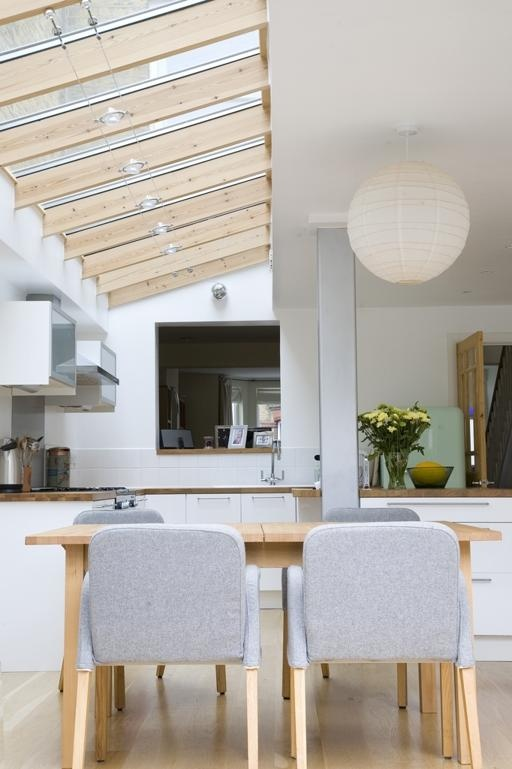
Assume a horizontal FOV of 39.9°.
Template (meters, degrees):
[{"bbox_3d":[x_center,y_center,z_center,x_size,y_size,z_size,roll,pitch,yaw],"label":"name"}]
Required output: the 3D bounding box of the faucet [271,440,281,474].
[{"bbox_3d":[0.167,0.666,6.319,0.071,0.330,0.257,-1,-4,13],"label":"faucet"}]

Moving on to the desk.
[{"bbox_3d":[0.009,0.839,2.294,1.446,0.765,0.850,1,-4,-19],"label":"desk"}]

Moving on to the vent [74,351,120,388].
[{"bbox_3d":[-1.191,-0.106,5.237,0.275,0.183,0.634,0,-4,-12],"label":"vent"}]

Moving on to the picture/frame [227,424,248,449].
[{"bbox_3d":[-0.172,0.495,6.600,0.173,0.201,0.320,0,-4,0],"label":"picture/frame"}]

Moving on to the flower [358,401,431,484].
[{"bbox_3d":[0.751,0.344,3.917,0.369,0.454,0.353,-1,-4,5],"label":"flower"}]

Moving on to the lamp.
[{"bbox_3d":[0.477,-0.634,2.577,0.436,0.594,0.428,0,-2,-3],"label":"lamp"}]

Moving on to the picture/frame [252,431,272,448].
[{"bbox_3d":[0.055,0.521,6.655,0.184,0.178,0.137,1,-20,0],"label":"picture/frame"}]

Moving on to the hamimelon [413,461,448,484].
[{"bbox_3d":[0.973,0.505,3.989,0.147,0.090,0.145,-3,-6,35],"label":"hamimelon"}]
